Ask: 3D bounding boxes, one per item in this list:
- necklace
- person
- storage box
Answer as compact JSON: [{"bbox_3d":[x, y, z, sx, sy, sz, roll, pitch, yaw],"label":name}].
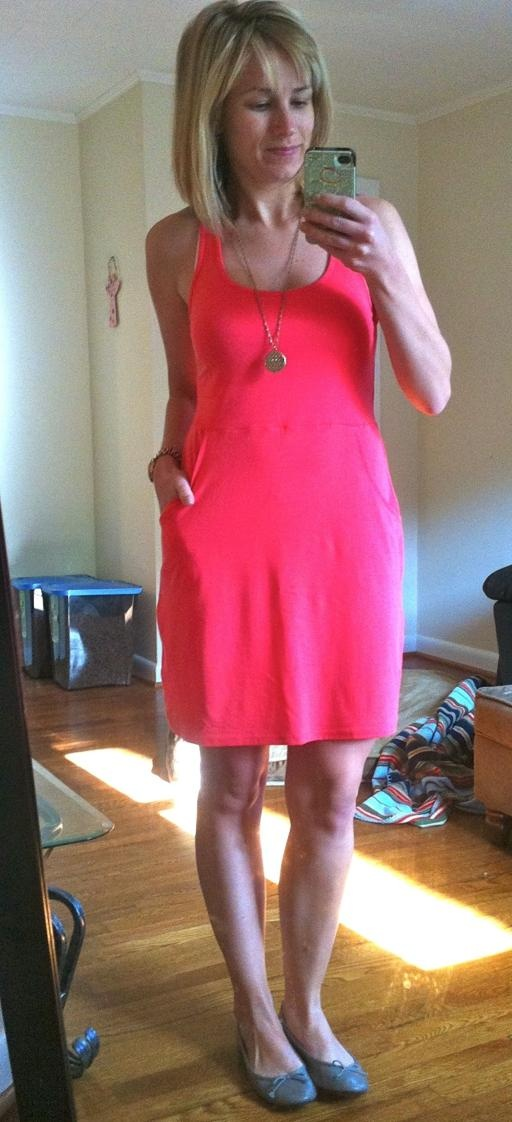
[{"bbox_3d":[0.010,-0.311,0.993,0.082,0.184,0.076,0,5,6],"label":"necklace"},{"bbox_3d":[0.036,0.026,1.076,0.406,1.407,0.258,1,5,14],"label":"person"},{"bbox_3d":[-0.783,0.317,3.755,0.447,0.435,0.553,-3,8,-28],"label":"storage box"}]
